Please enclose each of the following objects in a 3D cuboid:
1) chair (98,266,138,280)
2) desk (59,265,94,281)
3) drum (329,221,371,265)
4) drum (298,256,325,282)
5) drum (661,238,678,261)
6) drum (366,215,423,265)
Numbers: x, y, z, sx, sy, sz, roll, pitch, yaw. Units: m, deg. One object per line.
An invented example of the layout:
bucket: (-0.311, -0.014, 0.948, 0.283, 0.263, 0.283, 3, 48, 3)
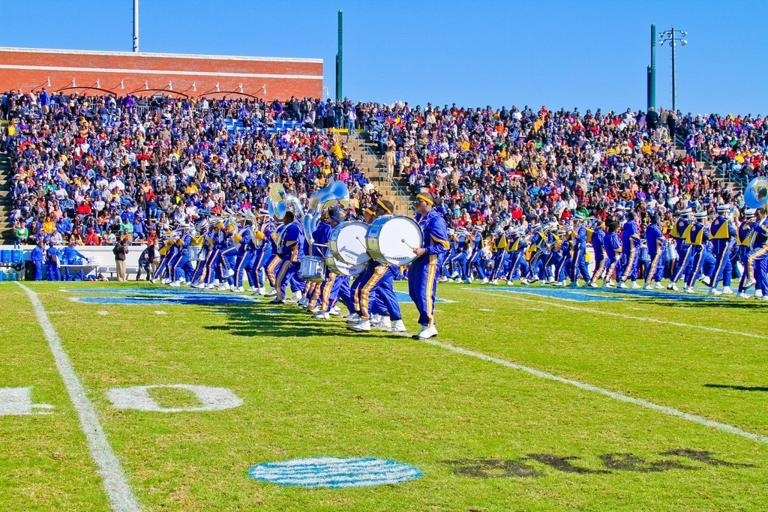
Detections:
chair: (-6.643, 0.396, 34.644, 0.996, 0.329, 0.453, 2, 1, -8)
desk: (-7.490, 0.365, 34.138, 0.390, 0.367, 0.786, 3, 2, 38)
drum: (-0.627, -0.221, 23.033, 0.757, 0.657, 0.727, -21, 9, -20)
drum: (-1.195, 0.205, 23.511, 0.502, 0.302, 0.355, 0, -11, -1)
drum: (6.690, -0.183, 32.831, 0.343, 0.442, 0.536, 3, 2, 11)
drum: (0.156, -0.270, 21.799, 0.863, 0.777, 0.368, 2, 2, -4)
